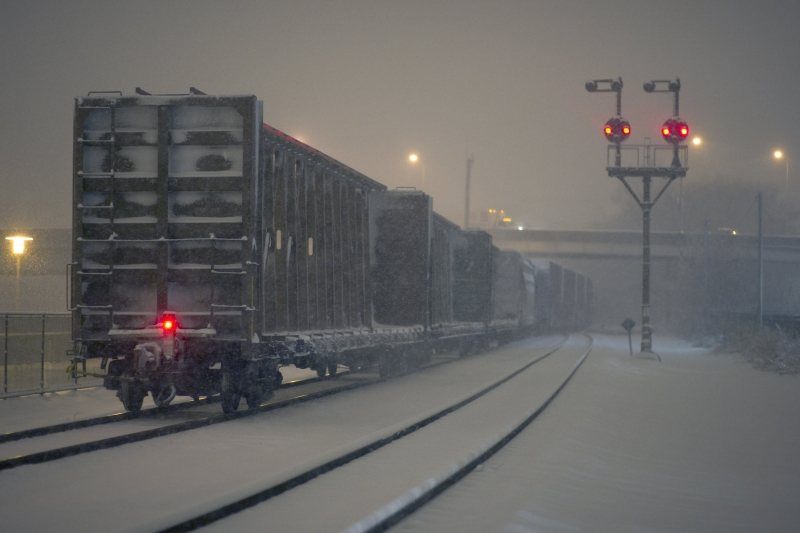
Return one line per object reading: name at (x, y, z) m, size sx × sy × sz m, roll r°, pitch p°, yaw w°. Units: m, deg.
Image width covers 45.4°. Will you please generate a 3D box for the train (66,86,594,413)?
train at (-0.231, 0.120, 38.011) m, size 5.715 × 8.065 × 38.135 m, roll 1°, pitch 0°, yaw 20°
